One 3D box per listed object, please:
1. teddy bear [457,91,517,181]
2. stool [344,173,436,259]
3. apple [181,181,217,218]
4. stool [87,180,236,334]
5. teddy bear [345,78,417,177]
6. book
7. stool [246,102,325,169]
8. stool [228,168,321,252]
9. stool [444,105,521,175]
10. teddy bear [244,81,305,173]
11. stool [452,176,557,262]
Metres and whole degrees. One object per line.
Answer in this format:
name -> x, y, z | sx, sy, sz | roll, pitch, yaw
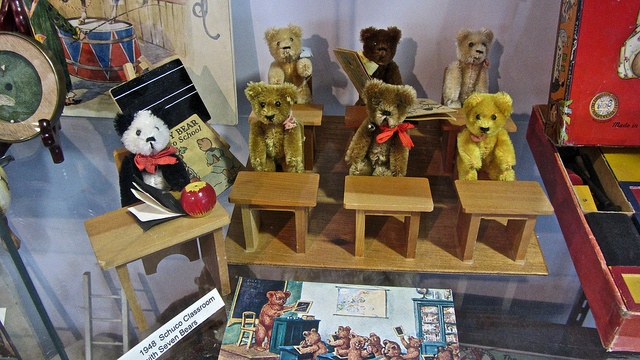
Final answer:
teddy bear -> 1.066, -0.253, 2.872 | 0.381, 0.571, 0.286 | 5, 23, 16
stool -> 0.403, 0.140, 2.822 | 0.664, 0.439, 0.461 | 2, 35, 3
apple -> -0.685, 0.119, 2.604 | 0.206, 0.188, 0.181 | -9, 23, -7
stool -> -0.974, 0.433, 2.758 | 0.735, 0.574, 0.540 | -15, 33, -41
teddy bear -> 0.392, -0.301, 2.918 | 0.445, 0.610, 0.397 | 10, 26, 10
book -> 0.471, -0.613, 3.102 | 0.836, 0.381, 0.497 | -1, 31, 3
stool -> -0.242, -0.241, 3.322 | 0.467, 0.368, 0.437 | 0, 9, 7
stool -> -0.261, 0.202, 2.853 | 0.538, 0.400, 0.327 | 1, 33, 2
stool -> 1.057, -0.198, 3.251 | 0.484, 0.393, 0.446 | 2, -7, -14
teddy bear -> -0.274, -0.320, 2.964 | 0.402, 0.585, 0.358 | 5, 25, 10
stool -> 1.065, 0.250, 2.767 | 0.532, 0.379, 0.310 | 0, 34, 0
